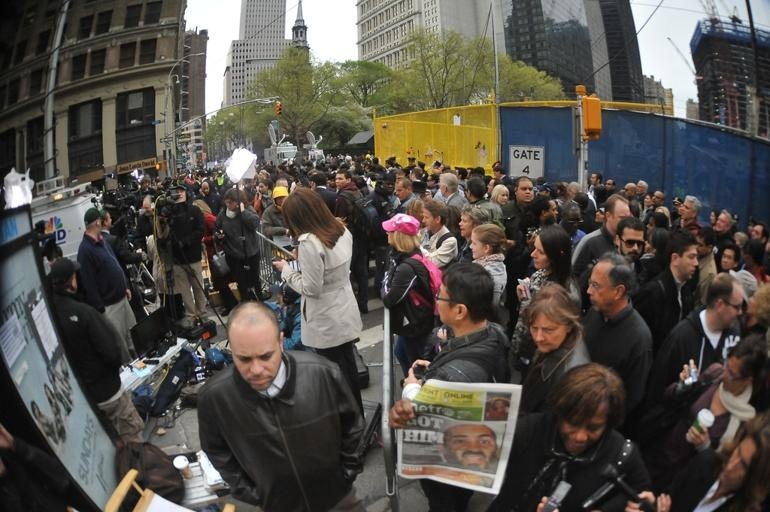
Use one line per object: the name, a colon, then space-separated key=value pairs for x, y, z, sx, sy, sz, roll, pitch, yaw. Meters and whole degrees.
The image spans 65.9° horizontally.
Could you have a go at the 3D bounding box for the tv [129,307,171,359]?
tv: x=-3.033 y=1.008 z=7.384 sx=0.429 sy=0.519 sz=0.737 roll=-1 pitch=13 yaw=19

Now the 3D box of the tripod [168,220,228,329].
tripod: x=-3.154 y=0.325 z=10.010 sx=0.823 sy=2.283 sz=0.714 roll=-28 pitch=41 yaw=-34

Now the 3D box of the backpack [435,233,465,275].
backpack: x=0.767 y=-0.024 z=7.512 sx=0.368 sy=0.659 sz=0.513 roll=1 pitch=1 yaw=0

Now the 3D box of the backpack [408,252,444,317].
backpack: x=0.412 y=0.309 z=6.244 sx=0.516 sy=0.688 sz=0.294 roll=1 pitch=-10 yaw=3
